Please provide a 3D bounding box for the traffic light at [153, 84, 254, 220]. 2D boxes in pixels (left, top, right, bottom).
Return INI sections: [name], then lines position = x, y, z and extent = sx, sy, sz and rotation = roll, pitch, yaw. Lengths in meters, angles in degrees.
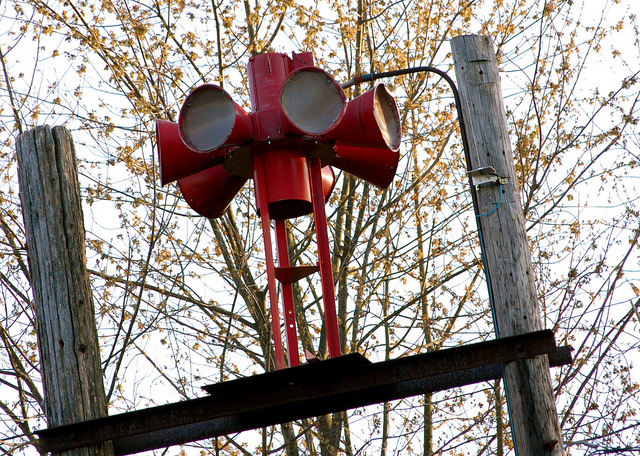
[traffic light]
position = -1.334, -0.943, 16.795
extent = 1.100, 0.764, 1.542
rotation = -2, -28, -9
